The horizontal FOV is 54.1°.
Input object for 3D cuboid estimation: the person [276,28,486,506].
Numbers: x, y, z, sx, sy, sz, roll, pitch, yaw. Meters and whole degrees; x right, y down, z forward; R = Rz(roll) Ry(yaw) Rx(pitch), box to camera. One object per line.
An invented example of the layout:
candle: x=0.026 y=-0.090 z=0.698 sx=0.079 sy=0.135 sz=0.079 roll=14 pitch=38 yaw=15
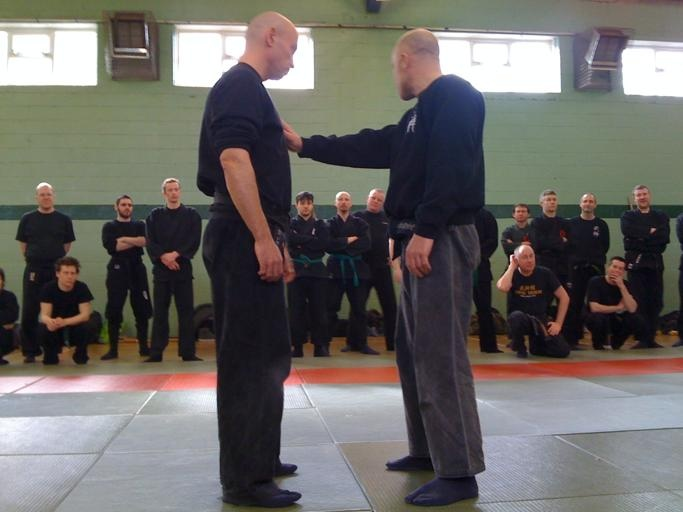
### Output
person: x=0.552 y=-0.009 z=4.467 sx=0.793 sy=2.989 sz=1.125 roll=-1 pitch=7 yaw=-9

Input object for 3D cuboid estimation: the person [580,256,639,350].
person: x=3.672 y=0.647 z=9.006 sx=0.667 sy=1.233 sz=0.475 roll=2 pitch=7 yaw=20

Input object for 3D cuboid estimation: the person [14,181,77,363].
person: x=-4.002 y=0.229 z=9.051 sx=0.823 sy=2.340 sz=0.530 roll=-2 pitch=2 yaw=-43

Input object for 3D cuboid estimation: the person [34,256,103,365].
person: x=-3.357 y=0.663 z=8.146 sx=0.600 sy=1.287 sz=0.608 roll=-3 pitch=7 yaw=-22

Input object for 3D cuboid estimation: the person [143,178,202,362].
person: x=-2.090 y=0.170 z=8.245 sx=0.706 sy=2.220 sz=0.742 roll=-2 pitch=7 yaw=-13

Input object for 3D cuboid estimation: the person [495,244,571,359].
person: x=2.397 y=0.571 z=8.342 sx=0.859 sy=1.380 sz=0.706 roll=1 pitch=7 yaw=12

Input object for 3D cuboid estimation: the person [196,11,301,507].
person: x=-0.571 y=0.157 z=4.186 sx=0.578 sy=2.732 sz=0.613 roll=-2 pitch=7 yaw=-12
